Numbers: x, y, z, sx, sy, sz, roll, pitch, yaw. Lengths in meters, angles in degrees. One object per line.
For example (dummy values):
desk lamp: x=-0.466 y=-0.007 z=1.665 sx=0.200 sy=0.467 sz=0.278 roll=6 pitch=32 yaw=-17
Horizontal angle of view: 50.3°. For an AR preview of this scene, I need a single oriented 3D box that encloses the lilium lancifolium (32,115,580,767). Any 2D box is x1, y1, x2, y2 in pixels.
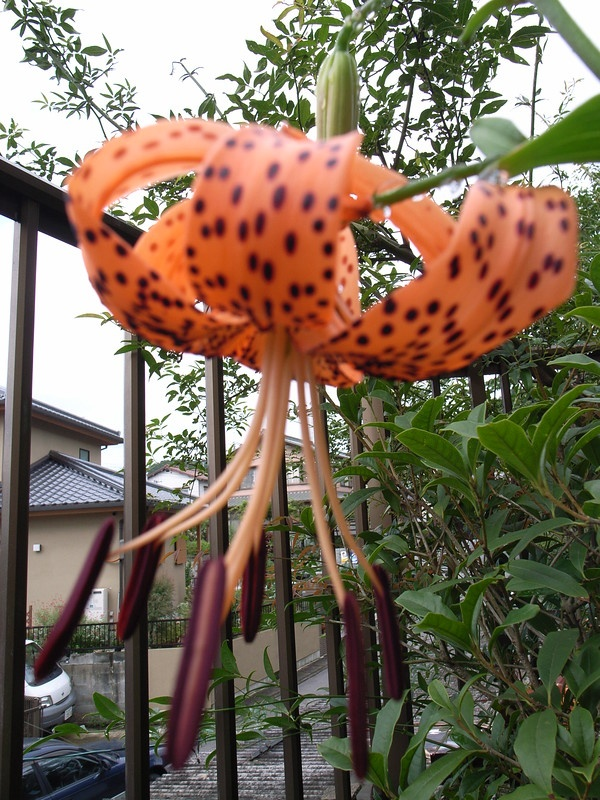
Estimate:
lilium lancifolium: x=-0.018 y=-0.003 z=0.518 sx=0.360 sy=0.400 sz=0.335 roll=-2 pitch=24 yaw=-14
